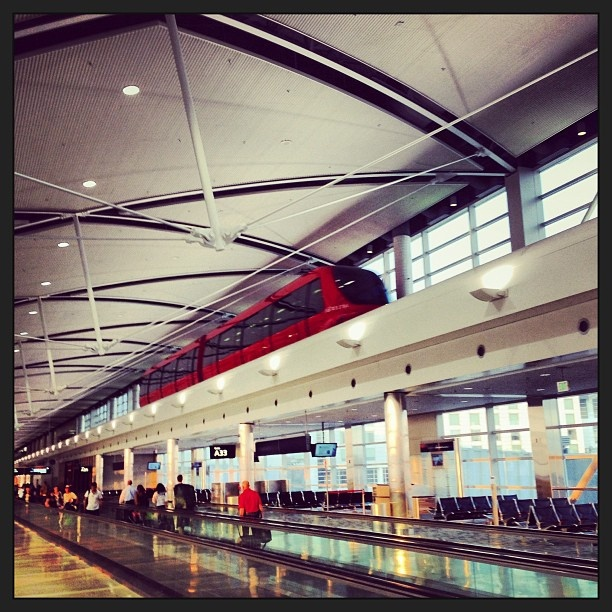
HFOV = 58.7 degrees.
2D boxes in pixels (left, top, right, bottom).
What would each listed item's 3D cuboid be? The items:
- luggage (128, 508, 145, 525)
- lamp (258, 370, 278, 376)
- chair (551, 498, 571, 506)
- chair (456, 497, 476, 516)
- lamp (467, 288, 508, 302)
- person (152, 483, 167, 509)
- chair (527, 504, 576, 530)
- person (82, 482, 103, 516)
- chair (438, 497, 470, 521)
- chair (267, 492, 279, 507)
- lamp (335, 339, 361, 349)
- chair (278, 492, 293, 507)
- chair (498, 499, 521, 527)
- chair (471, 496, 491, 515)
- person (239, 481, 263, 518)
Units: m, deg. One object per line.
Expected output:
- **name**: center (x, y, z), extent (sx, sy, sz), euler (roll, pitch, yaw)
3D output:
- **luggage**: center (-4.531, 5.626, 14.532), extent (0.408, 0.154, 2.278), euler (2, -15, -17)
- **lamp**: center (-1.304, 2.286, 18.165), extent (0.393, 0.232, 0.958), euler (5, -16, -26)
- **chair**: center (6.832, 5.266, 14.566), extent (0.459, 0.166, 0.423), euler (7, -19, -25)
- **chair**: center (5.105, 6.482, 17.516), extent (0.645, 0.512, 0.445), euler (2, -30, -10)
- **lamp**: center (3.207, -0.171, 9.682), extent (0.423, 0.235, 0.644), euler (2, -15, -18)
- **person**: center (-5.358, 6.955, 19.962), extent (0.415, 0.825, 1.122), euler (2, -16, -18)
- **chair**: center (6.206, 5.391, 13.579), extent (1.028, 0.398, 0.693), euler (7, -24, -11)
- **person**: center (-7.380, 6.644, 18.857), extent (0.480, 0.958, 1.660), euler (3, -16, -19)
- **chair**: center (4.599, 6.430, 17.138), extent (0.749, 0.577, 0.679), euler (8, -21, -22)
- **chair**: center (-1.671, 9.676, 27.178), extent (0.564, 0.552, 0.852), euler (-2, -15, -5)
- **lamp**: center (1.044, 1.018, 14.113), extent (0.493, 0.250, 0.696), euler (4, -16, -23)
- **chair**: center (-1.007, 9.522, 26.639), extent (0.694, 0.645, 0.504), euler (-2, -16, -3)
- **chair**: center (5.824, 5.926, 15.479), extent (0.642, 0.686, 0.564), euler (1, -29, -2)
- **chair**: center (5.822, 6.578, 17.898), extent (0.535, 0.639, 0.521), euler (0, -45, -6)
- **person**: center (-1.474, 5.131, 14.398), extent (0.566, 0.905, 0.889), euler (-1, -16, -6)
